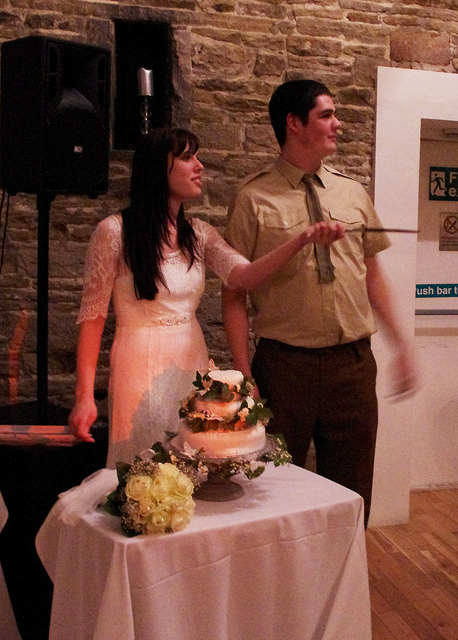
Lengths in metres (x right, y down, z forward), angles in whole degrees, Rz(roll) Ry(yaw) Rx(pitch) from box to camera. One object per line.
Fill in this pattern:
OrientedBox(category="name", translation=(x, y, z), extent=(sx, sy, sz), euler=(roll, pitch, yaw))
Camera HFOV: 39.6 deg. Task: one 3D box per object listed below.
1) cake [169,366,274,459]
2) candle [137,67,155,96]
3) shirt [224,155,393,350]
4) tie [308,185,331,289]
OrientedBox(category="cake", translation=(-0.011, 0.196, 1.429), extent=(0.203, 0.161, 0.216), euler=(3, 8, 20))
OrientedBox(category="candle", translation=(-0.362, -1.053, 2.843), extent=(0.061, 0.112, 0.156), euler=(5, 13, 12))
OrientedBox(category="shirt", translation=(0.267, -0.205, 2.210), extent=(0.509, 0.729, 0.468), euler=(-1, 9, 4))
OrientedBox(category="tie", translation=(0.314, -0.294, 2.173), extent=(0.060, 0.416, 0.019), euler=(6, -33, -15))
